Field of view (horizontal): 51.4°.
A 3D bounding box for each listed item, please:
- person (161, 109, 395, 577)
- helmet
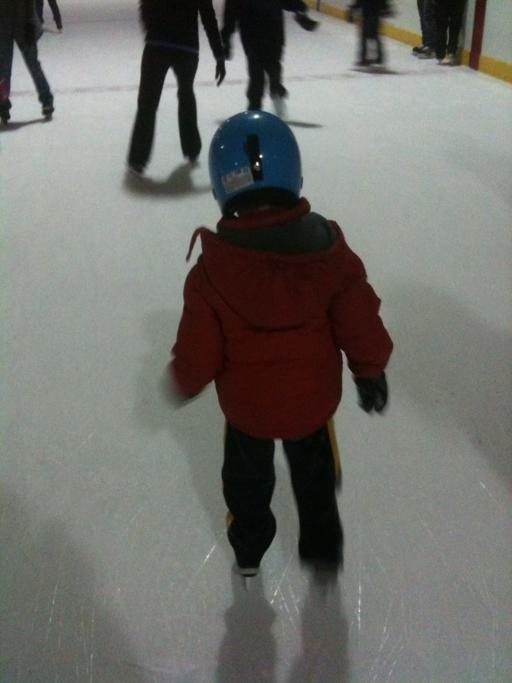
[{"bbox_3d":[0.062,0.085,0.972,0.362,0.875,0.291,4,33,8],"label":"person"},{"bbox_3d":[0.000,-0.280,0.875,0.131,0.189,0.184,-7,3,0],"label":"helmet"}]
